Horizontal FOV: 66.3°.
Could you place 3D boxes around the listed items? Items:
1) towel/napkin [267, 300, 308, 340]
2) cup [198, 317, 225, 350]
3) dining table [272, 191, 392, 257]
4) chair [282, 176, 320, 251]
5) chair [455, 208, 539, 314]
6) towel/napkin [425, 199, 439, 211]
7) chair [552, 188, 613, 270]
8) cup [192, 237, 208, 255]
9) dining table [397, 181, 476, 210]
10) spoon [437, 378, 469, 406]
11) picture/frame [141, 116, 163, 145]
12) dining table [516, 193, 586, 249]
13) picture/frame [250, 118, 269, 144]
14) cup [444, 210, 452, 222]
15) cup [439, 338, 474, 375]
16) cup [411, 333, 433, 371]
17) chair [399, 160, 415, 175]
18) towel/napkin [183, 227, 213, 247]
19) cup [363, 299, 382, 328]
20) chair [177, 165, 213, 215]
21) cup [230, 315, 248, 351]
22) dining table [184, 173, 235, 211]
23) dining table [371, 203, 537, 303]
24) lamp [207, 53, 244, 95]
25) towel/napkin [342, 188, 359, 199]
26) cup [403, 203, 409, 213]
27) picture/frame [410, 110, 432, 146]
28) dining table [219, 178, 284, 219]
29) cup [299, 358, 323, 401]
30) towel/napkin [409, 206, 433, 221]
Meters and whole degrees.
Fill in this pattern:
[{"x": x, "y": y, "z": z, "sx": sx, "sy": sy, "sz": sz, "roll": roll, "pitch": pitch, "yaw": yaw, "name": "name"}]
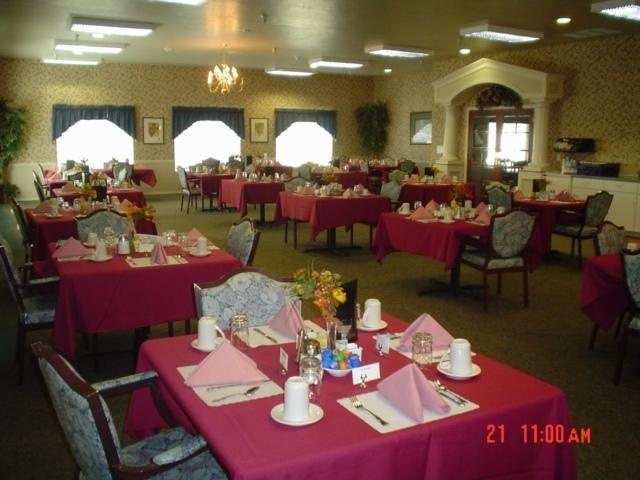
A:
[{"x": -0.151, "y": 0.356, "z": 2.572, "sx": 0.199, "sy": 0.235, "sz": 0.153, "roll": 12, "pitch": 46, "yaw": -2, "name": "towel/napkin"}, {"x": -0.531, "y": 0.480, "z": 2.416, "sx": 0.086, "sy": 0.150, "sz": 0.166, "roll": -14, "pitch": -25, "yaw": 24, "name": "cup"}, {"x": 0.188, "y": -0.302, "z": 8.267, "sx": 1.692, "sy": 0.983, "sz": 1.696, "roll": -1, "pitch": 9, "yaw": -19, "name": "dining table"}, {"x": -0.403, "y": -0.461, "z": 8.155, "sx": 0.875, "sy": 1.281, "sz": 1.009, "roll": 0, "pitch": 9, "yaw": -10, "name": "chair"}, {"x": 1.930, "y": 0.135, "z": 5.357, "sx": 0.708, "sy": 1.016, "sz": 0.474, "roll": -4, "pitch": 12, "yaw": -20, "name": "chair"}, {"x": 1.427, "y": -0.442, "z": 6.325, "sx": 0.215, "sy": 0.120, "sz": 0.237, "roll": -4, "pitch": 20, "yaw": -11, "name": "towel/napkin"}, {"x": 3.751, "y": -0.237, "z": 7.076, "sx": 0.667, "sy": 1.111, "sz": 0.718, "roll": -13, "pitch": 18, "yaw": -43, "name": "chair"}, {"x": -0.979, "y": 0.070, "z": 3.991, "sx": 0.136, "sy": 0.145, "sz": 0.145, "roll": 3, "pitch": 15, "yaw": -1, "name": "cup"}, {"x": 1.876, "y": -0.736, "z": 8.077, "sx": 0.671, "sy": 0.372, "sz": 0.695, "roll": -2, "pitch": 8, "yaw": -17, "name": "dining table"}, {"x": 0.530, "y": 0.607, "z": 1.968, "sx": 0.036, "sy": 0.029, "sz": 0.157, "roll": 0, "pitch": 17, "yaw": -18, "name": "spoon"}, {"x": -4.796, "y": -3.175, "z": 14.003, "sx": 0.665, "sy": 0.971, "sz": 0.037, "roll": -8, "pitch": 21, "yaw": -19, "name": "picture/frame"}, {"x": 3.444, "y": -0.321, "z": 7.369, "sx": 0.636, "sy": 0.503, "sz": 0.922, "roll": -1, "pitch": 12, "yaw": -4, "name": "dining table"}, {"x": -1.906, "y": -3.459, "z": 15.303, "sx": 0.684, "sy": 0.929, "sz": 0.063, "roll": -4, "pitch": 12, "yaw": -18, "name": "picture/frame"}, {"x": 1.459, "y": -0.279, "z": 5.640, "sx": 0.102, "sy": 0.112, "sz": 0.109, "roll": -1, "pitch": 9, "yaw": 0, "name": "cup"}, {"x": 0.587, "y": 0.524, "z": 2.131, "sx": 0.166, "sy": 0.179, "sz": 0.100, "roll": -3, "pitch": 4, "yaw": -42, "name": "cup"}, {"x": 0.469, "y": 0.513, "z": 2.238, "sx": 0.092, "sy": 0.146, "sz": 0.100, "roll": 2, "pitch": -1, "yaw": 0, "name": "cup"}, {"x": 2.285, "y": -1.923, "z": 12.816, "sx": 0.341, "sy": 0.276, "sz": 0.478, "roll": 3, "pitch": 20, "yaw": 4, "name": "chair"}, {"x": -1.369, "y": -0.039, "z": 5.557, "sx": 0.241, "sy": 0.109, "sz": 0.243, "roll": 13, "pitch": -1, "yaw": 35, "name": "towel/napkin"}, {"x": 0.274, "y": 0.390, "z": 2.635, "sx": 0.078, "sy": 0.138, "sz": 0.150, "roll": 5, "pitch": 14, "yaw": 20, "name": "cup"}, {"x": -3.093, "y": -1.256, "z": 12.042, "sx": 0.741, "sy": 1.127, "sz": 0.808, "roll": 4, "pitch": 10, "yaw": 9, "name": "chair"}, {"x": -0.385, "y": 0.455, "z": 2.380, "sx": 0.091, "sy": 0.163, "sz": 0.101, "roll": 0, "pitch": -1, "yaw": -4, "name": "cup"}, {"x": -2.580, "y": -1.085, "z": 11.962, "sx": 0.861, "sy": 0.610, "sz": 0.915, "roll": 13, "pitch": 7, "yaw": -41, "name": "dining table"}, {"x": 1.650, "y": 0.080, "z": 5.943, "sx": 1.328, "sy": 1.175, "sz": 1.747, "roll": -2, "pitch": 11, "yaw": -24, "name": "dining table"}, {"x": -2.733, "y": -4.782, "z": 14.220, "sx": 0.985, "sy": 1.227, "sz": 0.974, "roll": -5, "pitch": 7, "yaw": -29, "name": "lamp"}, {"x": 0.502, "y": -0.738, "z": 7.776, "sx": 0.181, "sy": 0.092, "sz": 0.191, "roll": -3, "pitch": 16, "yaw": -9, "name": "towel/napkin"}, {"x": 1.107, "y": -0.411, "z": 6.193, "sx": 0.099, "sy": 0.117, "sz": 0.113, "roll": -1, "pitch": 12, "yaw": -1, "name": "cup"}, {"x": 3.088, "y": -3.438, "z": 14.826, "sx": 0.070, "sy": 1.039, "sz": 0.954, "roll": -6, "pitch": 13, "yaw": -30, "name": "picture/frame"}, {"x": -1.401, "y": -0.957, "z": 10.163, "sx": 1.276, "sy": 0.560, "sz": 1.352, "roll": 11, "pitch": 14, "yaw": 37, "name": "dining table"}, {"x": -0.033, "y": 0.558, "z": 1.961, "sx": 0.087, "sy": 0.150, "sz": 0.089, "roll": -1, "pitch": -14, "yaw": 0, "name": "cup"}, {"x": 1.229, "y": -0.318, "z": 5.928, "sx": 0.198, "sy": 0.114, "sz": 0.291, "roll": 0, "pitch": 4, "yaw": 7, "name": "towel/napkin"}]
